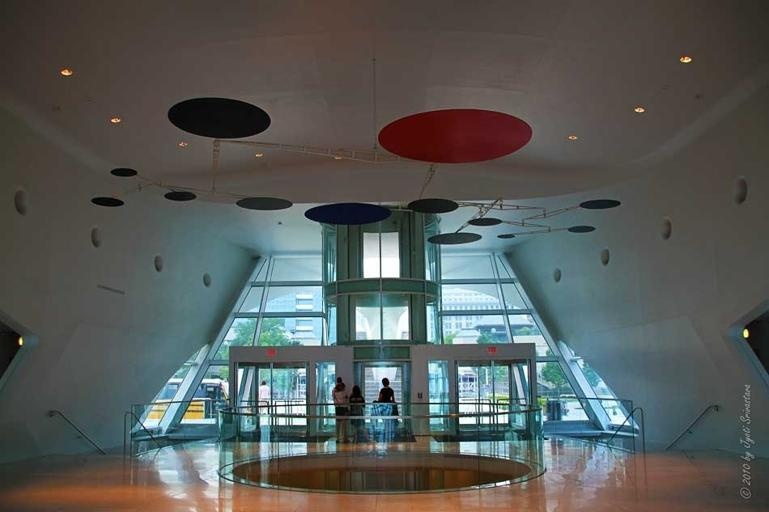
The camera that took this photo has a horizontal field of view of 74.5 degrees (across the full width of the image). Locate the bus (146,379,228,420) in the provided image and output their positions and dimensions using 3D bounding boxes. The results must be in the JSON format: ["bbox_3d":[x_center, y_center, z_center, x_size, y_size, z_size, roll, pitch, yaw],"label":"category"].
[{"bbox_3d":[-12.661,9.453,33.219,4.005,1.780,1.470,-1,-9,-4],"label":"bus"}]
